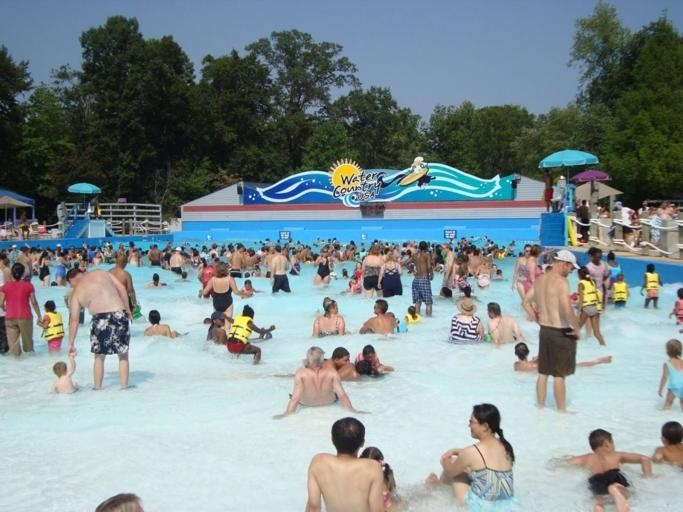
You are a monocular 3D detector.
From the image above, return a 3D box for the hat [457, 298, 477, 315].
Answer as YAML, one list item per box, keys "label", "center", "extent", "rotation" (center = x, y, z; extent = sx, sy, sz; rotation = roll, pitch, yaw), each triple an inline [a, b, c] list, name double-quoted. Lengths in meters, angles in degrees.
- label: "hat"
  center: [2.522, 1.015, 13.423]
  extent: [0.334, 0.466, 0.571]
  rotation: [2, 12, 13]

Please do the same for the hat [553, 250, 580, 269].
- label: "hat"
  center: [3.326, 0.035, 9.759]
  extent: [0.392, 0.234, 0.305]
  rotation: [16, 4, -23]

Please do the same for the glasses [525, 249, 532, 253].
- label: "glasses"
  center: [4.443, -0.108, 15.841]
  extent: [0.093, 0.119, 0.117]
  rotation: [-1, -9, 23]

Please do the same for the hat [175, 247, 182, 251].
- label: "hat"
  center: [-7.029, -0.326, 28.689]
  extent: [0.414, 0.169, 0.480]
  rotation: [2, -1, -9]
